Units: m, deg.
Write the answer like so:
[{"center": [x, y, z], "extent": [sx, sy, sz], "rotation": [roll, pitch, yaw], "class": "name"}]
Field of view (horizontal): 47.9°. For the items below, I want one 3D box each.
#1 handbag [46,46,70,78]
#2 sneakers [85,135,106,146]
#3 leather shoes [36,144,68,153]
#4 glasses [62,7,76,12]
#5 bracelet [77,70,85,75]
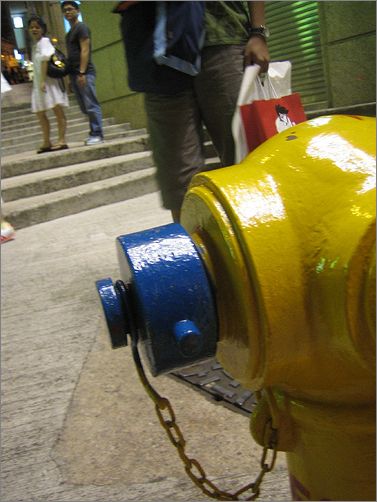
[{"center": [-1.916, -2.728, 6.100], "extent": [0.202, 0.401, 0.467], "rotation": [-8, 20, 7], "class": "handbag"}, {"center": [-1.422, -1.710, 6.591], "extent": [0.357, 0.145, 0.142], "rotation": [-18, 33, -15], "class": "sneakers"}, {"center": [-2.052, -1.545, 6.356], "extent": [0.532, 0.127, 0.177], "rotation": [-2, 6, 36], "class": "leather shoes"}, {"center": [-1.677, -3.402, 5.962], "extent": [0.093, 0.056, 0.114], "rotation": [0, 9, 4], "class": "glasses"}, {"center": [-1.569, -2.605, 6.146], "extent": [0.168, 0.040, 0.047], "rotation": [0, 4, -18], "class": "bracelet"}]
